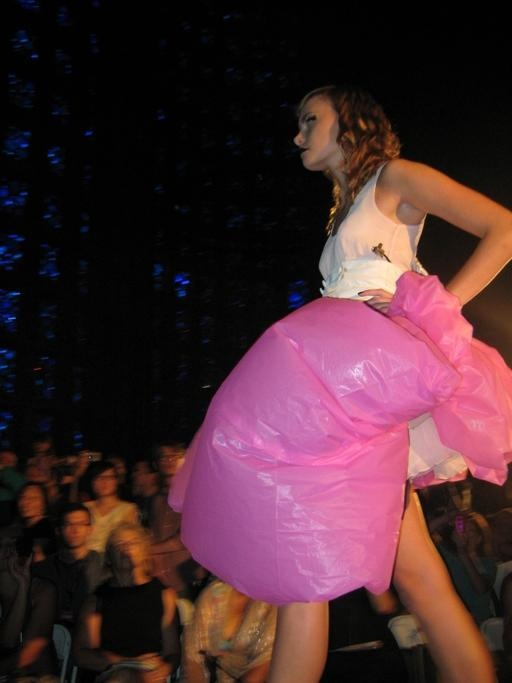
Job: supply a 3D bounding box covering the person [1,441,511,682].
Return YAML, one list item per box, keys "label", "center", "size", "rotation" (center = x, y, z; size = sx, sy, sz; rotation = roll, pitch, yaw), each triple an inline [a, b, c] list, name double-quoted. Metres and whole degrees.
- label: "person"
  center: [-0.018, 0.604, 1.679]
  size: [1.218, 0.222, 0.730]
  rotation: [0, -2, 8]

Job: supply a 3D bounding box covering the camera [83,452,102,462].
- label: "camera"
  center: [-0.730, 0.523, 2.993]
  size: [0.047, 0.015, 0.050]
  rotation: [28, 27, 34]
